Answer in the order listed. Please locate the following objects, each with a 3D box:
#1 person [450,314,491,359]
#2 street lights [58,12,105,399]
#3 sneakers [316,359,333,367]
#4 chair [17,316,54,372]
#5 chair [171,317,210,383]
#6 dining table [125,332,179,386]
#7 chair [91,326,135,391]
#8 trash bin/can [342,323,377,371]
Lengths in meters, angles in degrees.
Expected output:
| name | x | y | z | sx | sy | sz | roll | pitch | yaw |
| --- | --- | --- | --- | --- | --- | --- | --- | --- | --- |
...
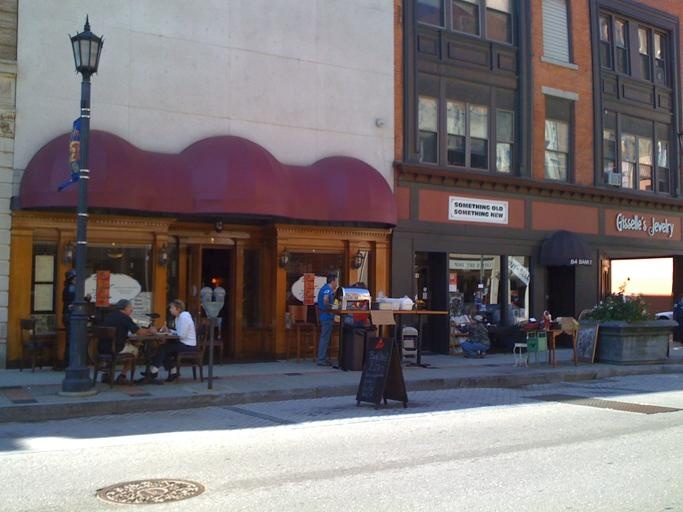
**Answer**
| name | x | y | z | sx | sy | sz | roll | pitch | yaw |
| --- | --- | --- | --- | --- | --- | --- | --- | --- | --- |
| person | 4.145 | 2.402 | 24.158 | 1.177 | 1.671 | 1.074 | 4 | -4 | -31 |
| street lights | -5.248 | -0.980 | 16.377 | 0.732 | 7.447 | 0.827 | 3 | -5 | -13 |
| sneakers | -0.409 | 2.772 | 21.003 | 0.364 | 0.170 | 0.160 | 2 | -2 | -30 |
| chair | -7.134 | 2.034 | 18.897 | 0.788 | 1.249 | 0.910 | 4 | -6 | -23 |
| chair | -3.416 | 2.040 | 18.083 | 0.863 | 1.343 | 0.908 | 4 | -1 | 7 |
| dining table | -4.147 | 2.228 | 17.790 | 1.045 | 0.880 | 1.162 | 1 | -6 | 14 |
| chair | -4.881 | 2.092 | 17.214 | 0.634 | 1.237 | 0.747 | 1 | 0 | 24 |
| trash bin/can | 0.434 | 2.280 | 20.710 | 0.935 | 1.419 | 1.048 | 2 | -2 | 5 |
